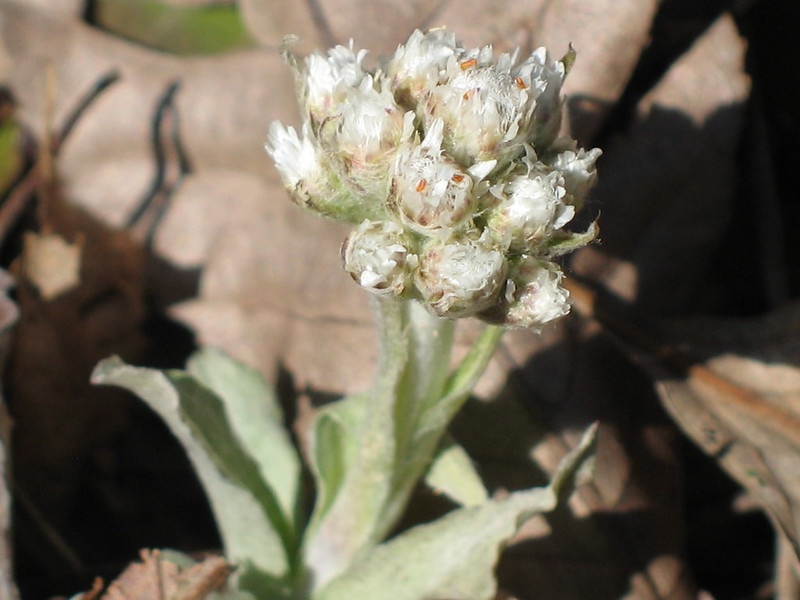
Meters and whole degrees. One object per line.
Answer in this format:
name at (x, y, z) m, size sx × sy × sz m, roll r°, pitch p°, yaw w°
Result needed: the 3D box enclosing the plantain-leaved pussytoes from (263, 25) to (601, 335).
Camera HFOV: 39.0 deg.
plantain-leaved pussytoes at (0.037, -0.113, 1.086) m, size 0.322 × 0.224 × 0.215 m, roll -7°, pitch 38°, yaw -7°
